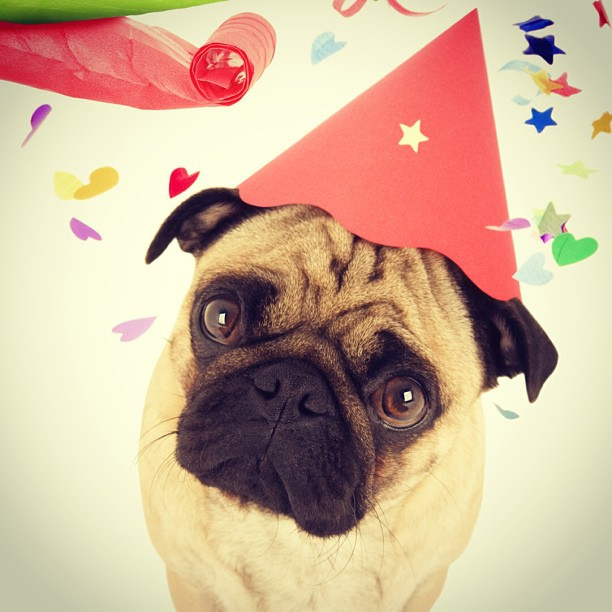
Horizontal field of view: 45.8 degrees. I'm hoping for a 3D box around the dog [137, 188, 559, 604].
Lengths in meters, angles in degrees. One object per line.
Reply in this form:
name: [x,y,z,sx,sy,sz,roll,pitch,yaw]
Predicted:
dog: [0.153,0.255,1.926,1.080,1.039,0.738,11,23,3]
